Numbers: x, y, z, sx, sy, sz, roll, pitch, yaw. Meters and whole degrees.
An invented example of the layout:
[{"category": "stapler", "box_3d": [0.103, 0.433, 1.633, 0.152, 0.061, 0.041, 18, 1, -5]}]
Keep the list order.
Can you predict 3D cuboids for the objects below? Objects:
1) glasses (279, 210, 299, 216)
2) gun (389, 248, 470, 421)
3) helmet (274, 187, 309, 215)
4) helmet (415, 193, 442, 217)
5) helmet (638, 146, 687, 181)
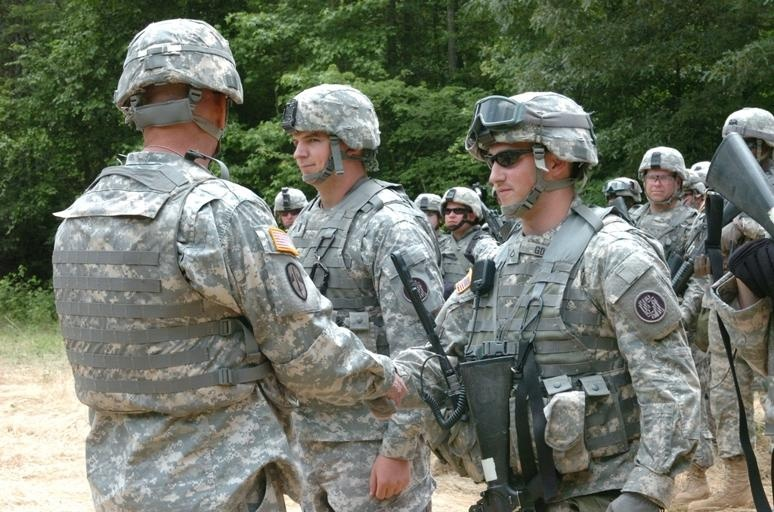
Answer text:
[{"category": "glasses", "box_3d": [-1.377, -0.577, 15.767, 0.157, 0.075, 0.201, -6, -5, 2]}, {"category": "gun", "box_3d": [0.459, 0.510, 10.642, 0.678, 0.268, 2.199, 28, 18, -12]}, {"category": "helmet", "box_3d": [-1.371, -0.757, 15.965, 0.508, 0.318, 0.660, -3, 10, 15]}, {"category": "helmet", "box_3d": [0.633, -0.740, 16.960, 0.402, 0.394, 0.445, 3, 4, 18]}, {"category": "helmet", "box_3d": [3.684, -1.206, 14.861, 0.552, 0.355, 0.534, 1, 1, 24]}]
